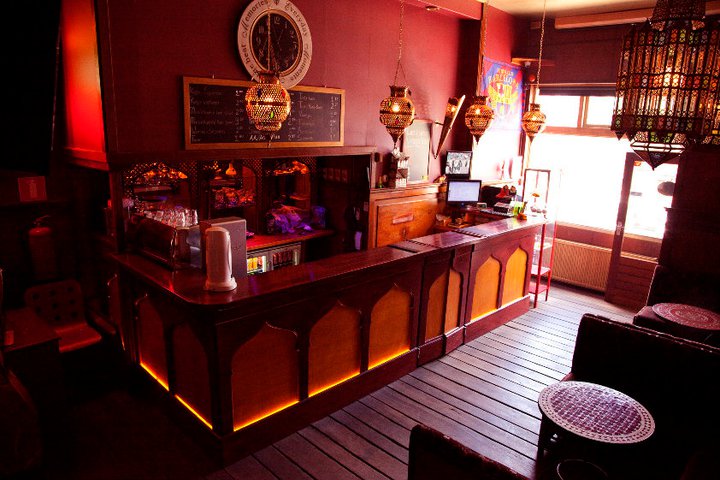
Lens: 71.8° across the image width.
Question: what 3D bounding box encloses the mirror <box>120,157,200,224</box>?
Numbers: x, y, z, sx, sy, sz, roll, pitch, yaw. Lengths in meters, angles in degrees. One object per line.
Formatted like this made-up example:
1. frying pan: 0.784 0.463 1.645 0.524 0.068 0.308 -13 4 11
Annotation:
1. mirror: -2.326 -0.584 5.687 0.357 0.686 0.703 5 8 37

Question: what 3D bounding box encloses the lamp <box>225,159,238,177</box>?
1. lamp: -1.693 -0.949 6.506 0.160 0.245 0.165 -14 24 -38

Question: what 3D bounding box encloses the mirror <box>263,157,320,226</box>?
1. mirror: -0.974 -0.649 7.187 0.389 1.010 0.908 15 23 37

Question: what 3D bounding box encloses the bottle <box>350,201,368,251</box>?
1. bottle: -0.025 -0.201 7.151 0.305 0.647 0.102 -2 3 8

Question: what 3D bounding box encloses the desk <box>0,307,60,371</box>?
1. desk: -3.168 0.721 4.768 0.380 0.488 0.992 -4 19 -37

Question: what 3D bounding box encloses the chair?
1. chair: -3.491 0.927 5.787 0.752 1.118 0.728 -13 20 -40

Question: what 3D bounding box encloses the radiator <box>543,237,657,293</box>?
1. radiator: 3.723 0.402 8.500 0.070 0.671 1.345 6 5 -23

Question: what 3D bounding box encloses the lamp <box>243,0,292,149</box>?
1. lamp: -0.986 -1.748 5.238 0.502 1.627 1.650 -2 19 -8

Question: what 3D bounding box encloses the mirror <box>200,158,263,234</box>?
1. mirror: -1.687 -0.566 6.611 0.178 1.021 0.982 13 22 34
